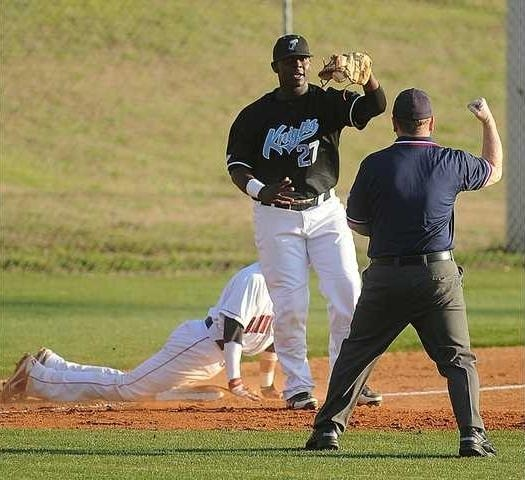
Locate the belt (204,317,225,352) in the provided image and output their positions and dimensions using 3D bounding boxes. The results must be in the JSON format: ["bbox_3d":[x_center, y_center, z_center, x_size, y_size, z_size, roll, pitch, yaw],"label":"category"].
[{"bbox_3d":[-0.368,0.733,10.809,0.129,0.240,0.177,-33,14,-3],"label":"belt"}]

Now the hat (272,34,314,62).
[{"bbox_3d":[0.230,-1.459,10.484,0.297,0.210,0.219,1,8,0],"label":"hat"}]

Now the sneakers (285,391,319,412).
[{"bbox_3d":[0.313,1.242,10.481,0.103,0.106,0.252,6,-11,-30],"label":"sneakers"}]

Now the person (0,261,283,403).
[{"bbox_3d":[-0.844,0.825,11.216,2.245,1.120,0.981,0,-7,5],"label":"person"}]

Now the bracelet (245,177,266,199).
[{"bbox_3d":[-0.042,-0.391,10.343,0.117,0.150,0.127,10,9,5],"label":"bracelet"}]

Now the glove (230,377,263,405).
[{"bbox_3d":[-0.127,1.190,10.797,0.277,0.080,0.139,37,-64,-23],"label":"glove"}]

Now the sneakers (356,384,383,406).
[{"bbox_3d":[0.887,1.235,10.768,0.346,0.141,0.120,0,-3,-18],"label":"sneakers"}]

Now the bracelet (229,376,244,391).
[{"bbox_3d":[-0.195,1.137,10.709,0.094,0.072,0.090,0,0,-11],"label":"bracelet"}]

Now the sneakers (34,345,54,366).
[{"bbox_3d":[-1.725,0.938,11.009,0.106,0.103,0.137,2,-40,-26],"label":"sneakers"}]

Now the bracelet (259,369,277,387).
[{"bbox_3d":[0.039,1.123,11.037,0.132,0.186,0.120,2,1,-8],"label":"bracelet"}]

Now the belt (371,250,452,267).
[{"bbox_3d":[1.022,0.123,9.472,0.555,0.107,0.123,2,8,6],"label":"belt"}]

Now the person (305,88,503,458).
[{"bbox_3d":[1.039,0.211,9.574,1.220,2.506,0.741,2,8,9],"label":"person"}]

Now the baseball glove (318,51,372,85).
[{"bbox_3d":[0.625,-1.240,10.212,0.319,0.235,0.142,-14,-23,-20],"label":"baseball glove"}]

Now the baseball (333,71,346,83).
[{"bbox_3d":[0.571,-1.223,10.224,0.086,0.080,0.082,0,-24,15],"label":"baseball"}]

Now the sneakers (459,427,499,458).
[{"bbox_3d":[1.460,1.389,9.376,0.249,0.210,0.137,2,8,5],"label":"sneakers"}]
